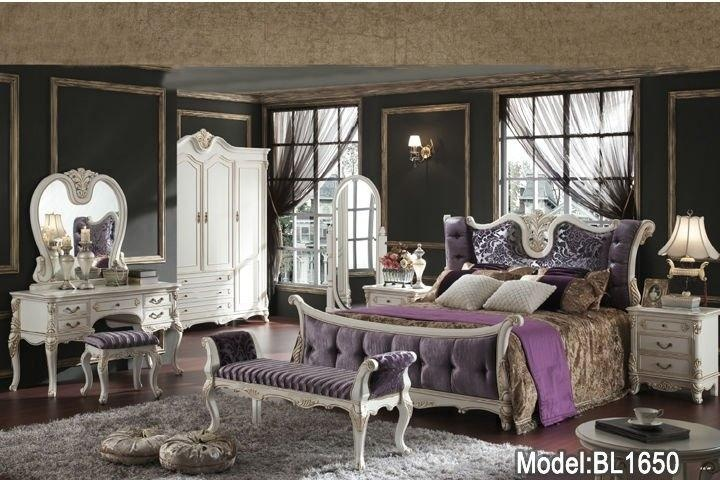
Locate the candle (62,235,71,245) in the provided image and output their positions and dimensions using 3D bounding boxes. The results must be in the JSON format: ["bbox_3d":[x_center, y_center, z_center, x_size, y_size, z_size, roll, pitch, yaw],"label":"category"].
[{"bbox_3d":[-2.876,-0.004,6.248,0.074,0.083,0.074,0,-1,-12],"label":"candle"}]

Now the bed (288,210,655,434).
[{"bbox_3d":[1.371,0.708,6.092,2.162,1.737,2.669,2,-2,-45],"label":"bed"}]

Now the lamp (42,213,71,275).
[{"bbox_3d":[-2.939,0.053,6.184,0.269,0.636,0.066,-3,5,-43],"label":"lamp"}]

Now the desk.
[{"bbox_3d":[-2.710,0.918,6.348,0.895,1.099,1.994,0,1,40],"label":"desk"}]

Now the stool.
[{"bbox_3d":[-2.202,1.130,5.927,0.718,0.618,0.650,2,-4,-44],"label":"stool"}]

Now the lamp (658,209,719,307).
[{"bbox_3d":[3.238,0.167,6.216,0.546,0.882,1.061,2,3,25],"label":"lamp"}]

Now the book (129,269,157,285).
[{"bbox_3d":[-2.259,0.351,6.575,0.154,0.100,0.211,-2,-1,41],"label":"book"}]

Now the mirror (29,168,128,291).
[{"bbox_3d":[-2.828,-0.097,6.284,0.107,1.470,1.234,2,2,38],"label":"mirror"}]

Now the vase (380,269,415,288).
[{"bbox_3d":[0.458,0.451,7.563,0.272,0.168,0.218,0,-1,9],"label":"vase"}]
